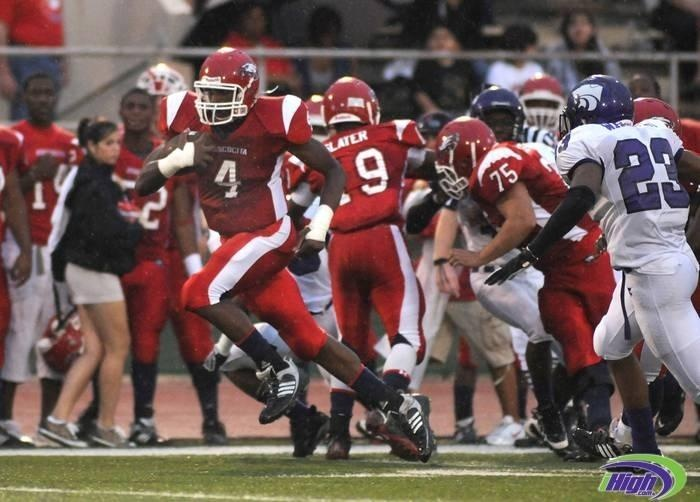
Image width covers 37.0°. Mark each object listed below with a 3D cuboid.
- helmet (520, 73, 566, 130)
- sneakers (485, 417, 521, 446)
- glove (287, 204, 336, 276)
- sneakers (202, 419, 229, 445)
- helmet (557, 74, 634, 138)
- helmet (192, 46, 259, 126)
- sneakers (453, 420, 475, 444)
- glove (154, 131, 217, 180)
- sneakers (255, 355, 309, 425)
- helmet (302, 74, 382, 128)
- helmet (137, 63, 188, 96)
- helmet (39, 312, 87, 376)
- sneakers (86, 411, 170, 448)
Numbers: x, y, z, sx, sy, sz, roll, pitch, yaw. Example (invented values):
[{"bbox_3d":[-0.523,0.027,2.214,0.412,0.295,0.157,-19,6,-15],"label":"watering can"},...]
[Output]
[{"bbox_3d":[1.313,-1.071,7.476,0.310,0.391,0.429,0,2,0],"label":"helmet"},{"bbox_3d":[0.984,1.191,6.851,0.289,0.138,0.109,-10,2,-1],"label":"sneakers"},{"bbox_3d":[-0.274,-0.073,6.310,0.304,0.423,0.148,7,-5,34],"label":"glove"},{"bbox_3d":[-0.868,1.165,6.716,0.166,0.153,0.172,2,-6,-8],"label":"sneakers"},{"bbox_3d":[1.274,-0.767,5.473,0.333,0.346,0.261,6,5,36],"label":"helmet"},{"bbox_3d":[-0.660,-0.866,5.555,0.297,0.366,0.420,0,12,30],"label":"helmet"},{"bbox_3d":[0.767,1.215,6.972,0.156,0.161,0.105,3,-10,1],"label":"sneakers"},{"bbox_3d":[-0.849,-0.513,5.534,0.285,0.143,0.210,-15,30,25],"label":"glove"},{"bbox_3d":[-0.374,0.755,5.617,0.241,0.339,0.206,1,-6,2],"label":"sneakers"},{"bbox_3d":[-0.019,-0.856,6.109,0.245,0.274,0.330,3,10,26],"label":"helmet"},{"bbox_3d":[-1.406,-1.238,7.742,0.304,0.230,0.435,1,8,-6],"label":"helmet"},{"bbox_3d":[-1.795,0.570,6.485,0.273,0.361,0.131,25,-9,-25],"label":"helmet"},{"bbox_3d":[-1.438,1.115,6.573,0.601,0.262,0.201,3,-4,-10],"label":"sneakers"}]
